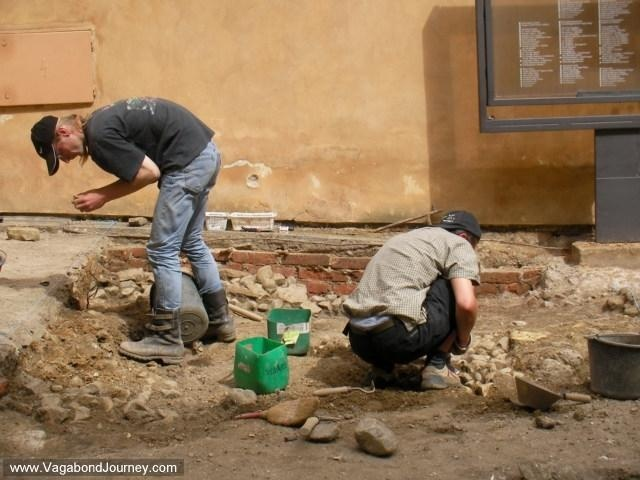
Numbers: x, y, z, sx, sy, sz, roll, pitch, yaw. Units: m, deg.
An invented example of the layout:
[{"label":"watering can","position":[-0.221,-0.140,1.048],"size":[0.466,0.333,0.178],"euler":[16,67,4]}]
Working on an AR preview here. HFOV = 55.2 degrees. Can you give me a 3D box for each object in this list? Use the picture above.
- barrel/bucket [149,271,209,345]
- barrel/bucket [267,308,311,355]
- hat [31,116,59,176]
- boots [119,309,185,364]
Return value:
[{"label":"barrel/bucket","position":[-1.023,0.495,4.852],"size":[0.570,0.474,0.552],"euler":[3,15,-1]},{"label":"barrel/bucket","position":[-0.210,0.727,4.834],"size":[0.406,0.322,0.366],"euler":[0,-7,-1]},{"label":"hat","position":[-1.933,-0.671,4.314],"size":[0.183,0.415,0.234],"euler":[-6,10,-23]},{"label":"boots","position":[-1.320,0.727,4.514],"size":[0.648,0.413,0.259],"euler":[6,1,-3]}]
